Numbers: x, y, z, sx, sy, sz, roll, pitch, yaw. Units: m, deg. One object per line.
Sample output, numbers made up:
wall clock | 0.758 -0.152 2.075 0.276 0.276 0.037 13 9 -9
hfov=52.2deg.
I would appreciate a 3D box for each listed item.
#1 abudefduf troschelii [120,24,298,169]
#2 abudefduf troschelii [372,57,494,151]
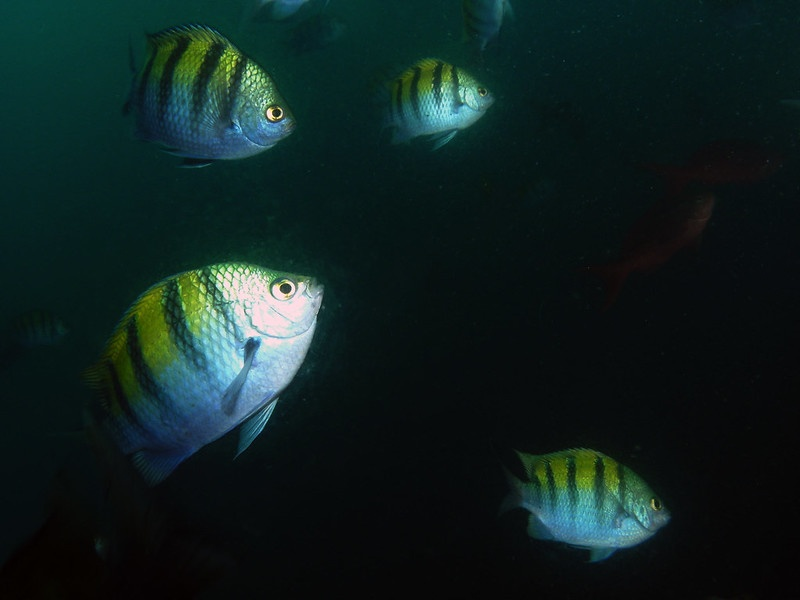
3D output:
abudefduf troschelii | -0.814 -0.734 3.003 0.759 0.578 0.212 7 -8 -4
abudefduf troschelii | 0.125 -0.779 3.207 0.424 0.313 0.059 -2 3 -6
